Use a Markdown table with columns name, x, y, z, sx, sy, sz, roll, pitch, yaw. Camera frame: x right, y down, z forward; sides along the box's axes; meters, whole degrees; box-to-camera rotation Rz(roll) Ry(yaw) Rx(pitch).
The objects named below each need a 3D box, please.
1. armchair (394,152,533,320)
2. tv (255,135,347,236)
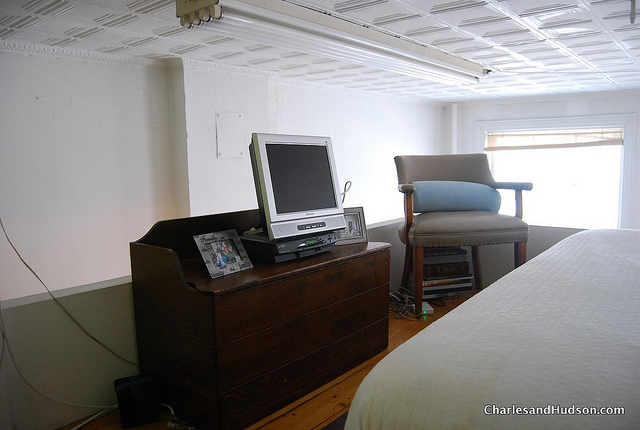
| name | x | y | z | sx | sy | sz | roll | pitch | yaw |
| --- | --- | --- | --- | --- | --- | --- | --- | --- | --- |
| armchair | 1.132 | 0.163 | 3.773 | 0.955 | 1.330 | 1.295 | -1 | 4 | -1 |
| tv | -0.123 | -0.158 | 2.455 | 0.589 | 0.581 | 0.064 | -9 | -5 | -44 |
